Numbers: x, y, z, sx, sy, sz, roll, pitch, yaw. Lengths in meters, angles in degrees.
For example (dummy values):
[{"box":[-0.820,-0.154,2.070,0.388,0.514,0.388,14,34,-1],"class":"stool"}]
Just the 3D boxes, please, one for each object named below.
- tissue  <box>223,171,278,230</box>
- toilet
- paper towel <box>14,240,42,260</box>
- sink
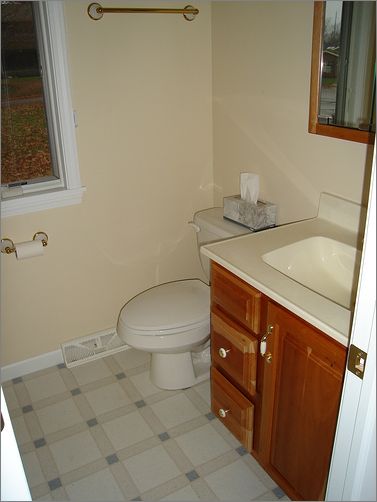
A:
[{"box":[0.243,-0.222,1.565,0.107,0.214,0.274,-12,23,-26],"class":"tissue "},{"box":[-0.021,0.273,1.730,0.588,0.679,0.381,-13,28,-18],"class":"toilet"},{"box":[-0.682,-0.010,1.610,0.097,0.075,0.074,-10,19,-22],"class":"paper towel"},{"box":[0.392,0.060,1.104,0.270,0.102,0.293,-11,24,-24],"class":"sink"}]
